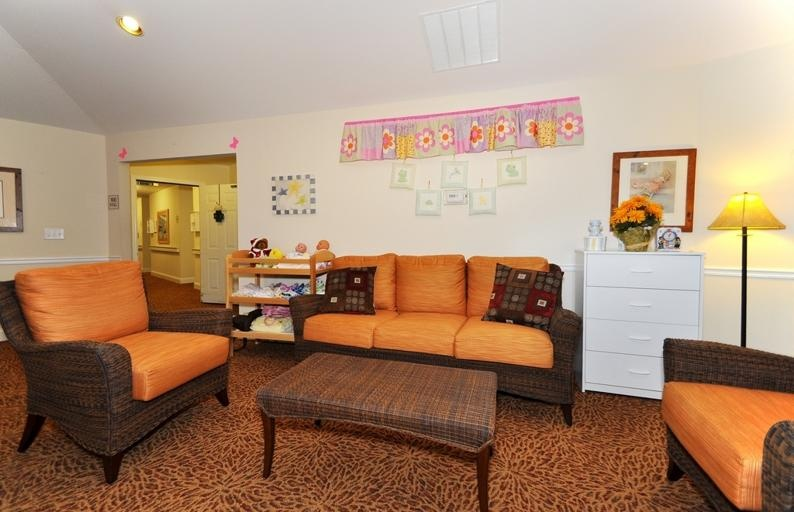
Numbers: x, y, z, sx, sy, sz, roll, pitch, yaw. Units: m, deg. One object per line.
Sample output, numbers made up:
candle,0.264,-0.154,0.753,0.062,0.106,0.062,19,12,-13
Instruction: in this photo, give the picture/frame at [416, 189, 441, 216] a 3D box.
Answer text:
picture/frame,0.371,-0.604,5.610,0.339,0.301,0.035,0,2,7

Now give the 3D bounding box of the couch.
couch,0.328,0.627,5.159,2.826,1.096,1.126,2,16,18

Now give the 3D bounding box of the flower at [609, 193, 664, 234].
flower,2.262,-0.377,4.700,0.435,0.358,0.140,2,7,21

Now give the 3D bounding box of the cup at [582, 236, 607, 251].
cup,1.921,-0.103,4.813,0.176,0.100,0.166,1,-2,0

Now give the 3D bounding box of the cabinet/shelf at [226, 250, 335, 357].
cabinet/shelf,-1.255,0.529,5.446,1.284,1.206,0.730,1,3,19

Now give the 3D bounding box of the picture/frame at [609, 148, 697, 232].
picture/frame,2.611,-0.653,4.968,0.985,1.018,0.042,1,-1,15

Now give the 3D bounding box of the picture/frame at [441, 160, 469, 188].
picture/frame,0.659,-0.910,5.536,0.354,0.315,0.027,1,5,8

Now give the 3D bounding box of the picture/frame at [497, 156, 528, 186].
picture/frame,1.267,-0.918,5.387,0.374,0.318,0.014,0,0,14

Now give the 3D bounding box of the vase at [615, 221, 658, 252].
vase,2.302,-0.178,4.701,0.298,0.189,0.261,-1,1,0

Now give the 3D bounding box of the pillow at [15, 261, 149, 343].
pillow,-2.703,0.461,4.461,0.502,0.725,0.963,12,13,27

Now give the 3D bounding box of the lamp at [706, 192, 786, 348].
lamp,3.340,0.152,4.802,0.670,1.526,0.454,2,6,16

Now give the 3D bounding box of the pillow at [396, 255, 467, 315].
pillow,0.369,0.313,5.351,0.787,0.609,0.279,0,6,17

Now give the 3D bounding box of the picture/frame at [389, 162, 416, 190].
picture/frame,0.074,-0.913,5.680,0.362,0.334,0.035,0,3,7

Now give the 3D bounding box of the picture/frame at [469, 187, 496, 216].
picture/frame,0.960,-0.596,5.467,0.349,0.309,0.033,1,1,15
